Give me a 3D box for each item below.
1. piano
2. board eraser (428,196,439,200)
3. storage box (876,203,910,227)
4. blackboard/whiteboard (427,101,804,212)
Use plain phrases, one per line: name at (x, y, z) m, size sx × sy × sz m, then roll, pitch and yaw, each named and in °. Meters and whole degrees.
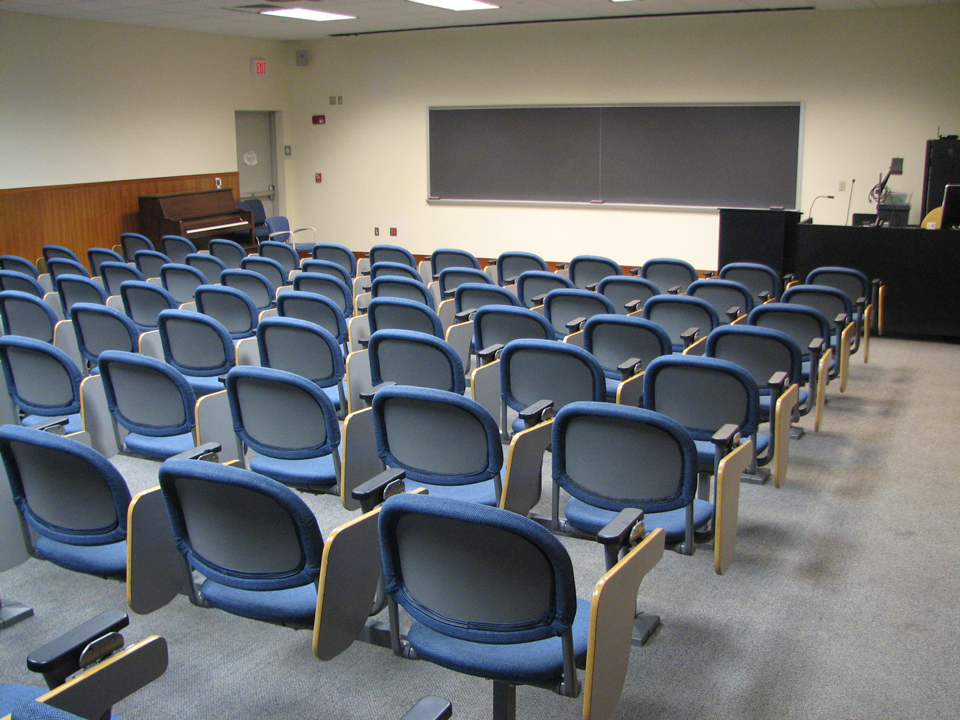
piano at (-5.071, -2.385, 12.584) m, size 0.942 × 1.312 × 1.831 m, roll 6°, pitch 19°, yaw 24°
board eraser at (-0.896, -3.069, 13.227) m, size 0.116 × 0.085 × 0.025 m, roll 3°, pitch 0°, yaw 15°
storage box at (5.347, -1.866, 9.010) m, size 0.433 × 0.366 × 0.458 m, roll 9°, pitch 18°, yaw 33°
blackboard/whiteboard at (2.064, -3.462, 11.872) m, size 6.371 × 1.893 × 0.655 m, roll 4°, pitch -10°, yaw 11°
